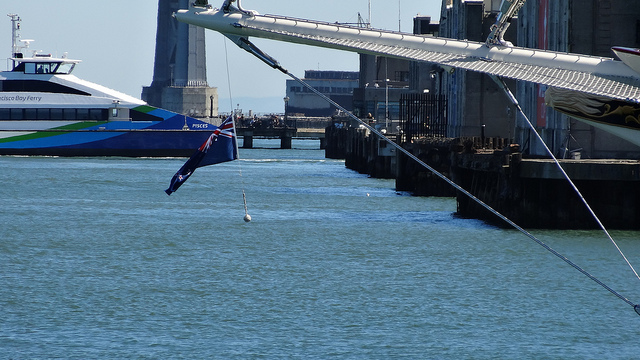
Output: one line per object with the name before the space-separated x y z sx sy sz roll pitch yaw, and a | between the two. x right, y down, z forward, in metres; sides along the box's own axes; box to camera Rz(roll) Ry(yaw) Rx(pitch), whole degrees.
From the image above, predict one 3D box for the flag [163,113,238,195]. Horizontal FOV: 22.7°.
flag | -6.625 -1.610 95.141 4.418 4.422 1.343 -3 10 -37
